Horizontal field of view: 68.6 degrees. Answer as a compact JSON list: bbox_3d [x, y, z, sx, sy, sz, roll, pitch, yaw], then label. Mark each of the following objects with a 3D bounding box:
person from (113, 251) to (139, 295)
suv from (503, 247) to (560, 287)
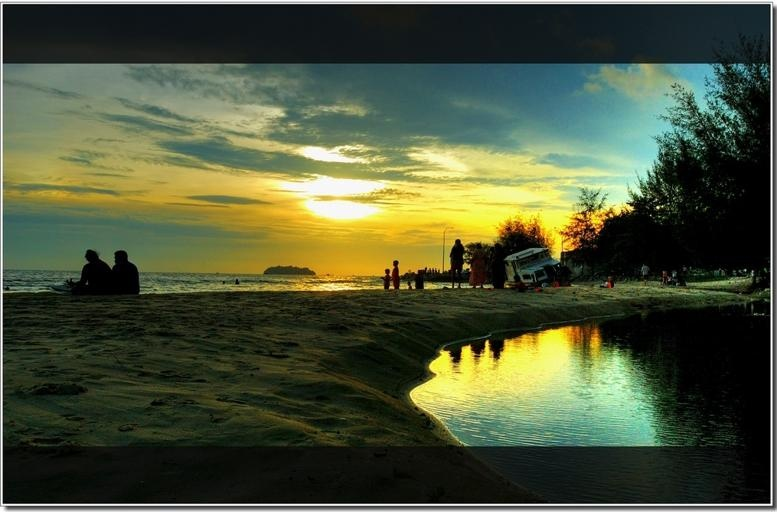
[{"bbox_3d":[-8.671,0.570,18.835,0.529,1.417,0.979,-2,-3,25],"label":"person"},{"bbox_3d":[8.622,0.806,34.496,2.631,1.831,3.445,-22,5,-19],"label":"suv"}]
